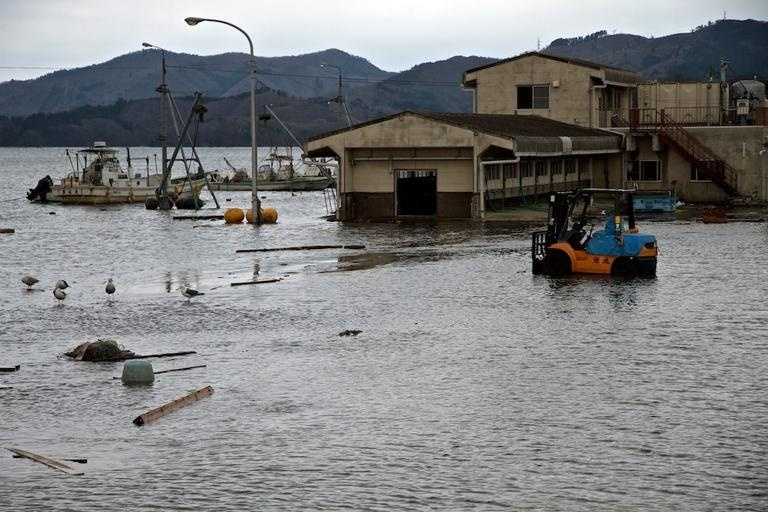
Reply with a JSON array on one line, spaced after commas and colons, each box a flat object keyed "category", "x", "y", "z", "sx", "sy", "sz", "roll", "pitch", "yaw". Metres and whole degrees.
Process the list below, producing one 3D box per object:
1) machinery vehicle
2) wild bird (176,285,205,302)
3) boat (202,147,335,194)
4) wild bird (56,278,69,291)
[{"category": "machinery vehicle", "x": 6.300, "y": -0.752, "z": 41.836, "sx": 4.277, "sy": 2.678, "sz": 2.182, "roll": 2, "pitch": 4, "yaw": -15}, {"category": "wild bird", "x": -5.473, "y": 1.045, "z": 37.959, "sx": 0.879, "sy": 0.482, "sz": 0.301, "roll": -7, "pitch": 5, "yaw": -45}, {"category": "boat", "x": -9.765, "y": -7.133, "z": 113.079, "sx": 10.847, "sy": 3.315, "sz": 2.632, "roll": 0, "pitch": 7, "yaw": 6}, {"category": "wild bird", "x": -9.434, "y": 0.798, "z": 38.438, "sx": 0.425, "sy": 0.365, "sz": 0.542, "roll": 0, "pitch": -4, "yaw": 15}]
